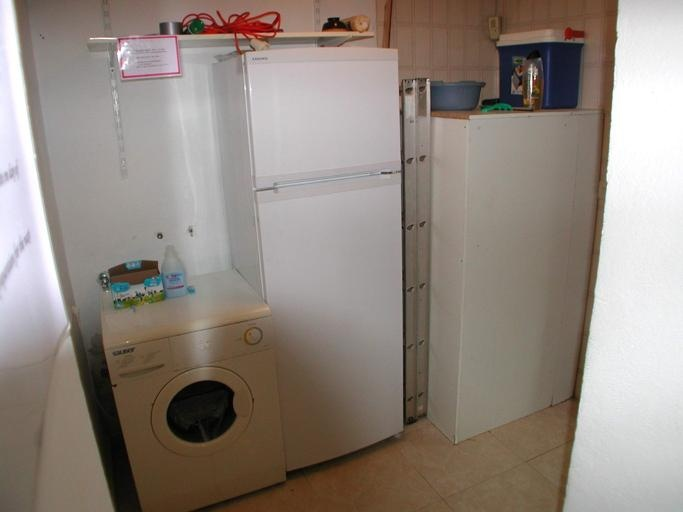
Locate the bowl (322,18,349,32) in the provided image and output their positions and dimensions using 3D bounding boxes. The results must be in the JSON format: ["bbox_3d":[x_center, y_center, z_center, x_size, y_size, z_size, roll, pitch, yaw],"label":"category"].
[{"bbox_3d":[-0.025,-0.927,2.133,0.109,0.053,0.090,-8,21,-8],"label":"bowl"}]

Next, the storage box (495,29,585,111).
[{"bbox_3d":[0.952,-0.898,2.575,0.250,0.359,0.416,-8,17,-14],"label":"storage box"}]

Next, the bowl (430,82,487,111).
[{"bbox_3d":[0.503,-0.695,2.314,0.262,0.137,0.112,-13,23,-22],"label":"bowl"}]
